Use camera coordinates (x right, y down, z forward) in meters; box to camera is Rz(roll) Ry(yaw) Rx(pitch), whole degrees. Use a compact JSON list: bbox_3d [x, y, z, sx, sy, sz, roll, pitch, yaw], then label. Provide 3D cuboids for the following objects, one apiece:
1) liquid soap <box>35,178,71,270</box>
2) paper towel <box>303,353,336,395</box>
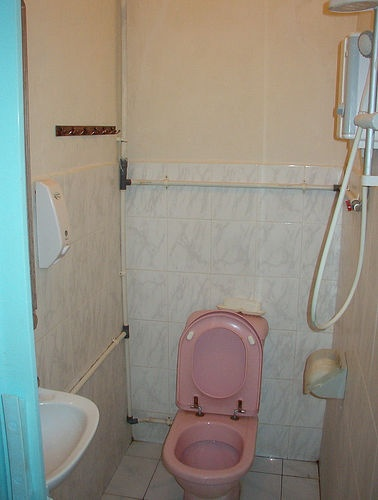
[{"bbox_3d":[-0.466,-0.090,1.468,0.046,0.293,0.111,5,19,7],"label":"liquid soap"},{"bbox_3d":[0.510,0.464,1.655,0.187,0.115,0.129,-1,13,-14],"label":"paper towel"}]
